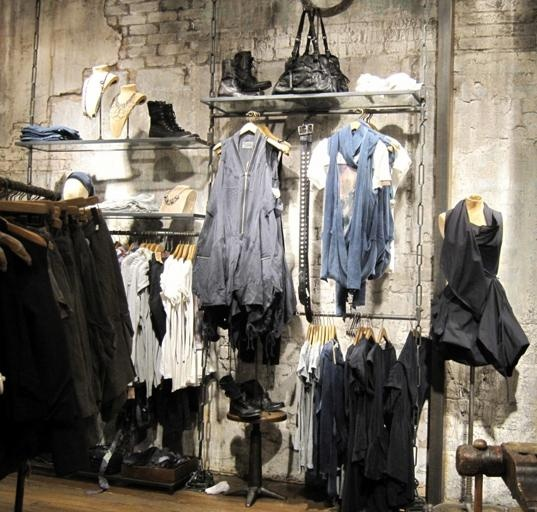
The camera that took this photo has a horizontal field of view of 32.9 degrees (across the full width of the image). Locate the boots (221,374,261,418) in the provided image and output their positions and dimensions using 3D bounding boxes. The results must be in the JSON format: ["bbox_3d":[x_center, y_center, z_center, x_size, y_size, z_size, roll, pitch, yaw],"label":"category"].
[{"bbox_3d":[-0.181,0.888,5.727,0.132,0.307,0.367,-12,3,-35],"label":"boots"}]

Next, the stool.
[{"bbox_3d":[-0.082,1.269,5.775,0.409,0.681,0.486,0,-4,0],"label":"stool"}]

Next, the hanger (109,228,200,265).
[{"bbox_3d":[-0.790,-0.080,6.258,0.694,0.233,0.503,2,-3,11],"label":"hanger"}]

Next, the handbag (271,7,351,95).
[{"bbox_3d":[0.298,-1.339,5.925,0.518,0.670,0.310,0,-3,14],"label":"handbag"}]
